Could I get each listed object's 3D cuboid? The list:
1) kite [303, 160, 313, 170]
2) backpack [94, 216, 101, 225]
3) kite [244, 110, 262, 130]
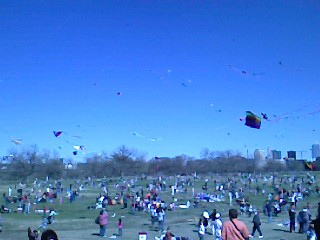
[{"bbox_3d":[17.083,5.126,53.004,0.681,0.565,2.599,-27,7,10],"label":"kite"},{"bbox_3d":[-5.414,8.789,41.023,0.683,0.918,0.463,1,-16,-4],"label":"backpack"},{"bbox_3d":[8.180,0.118,40.727,1.852,1.791,1.513,-2,1,-11],"label":"kite"}]
